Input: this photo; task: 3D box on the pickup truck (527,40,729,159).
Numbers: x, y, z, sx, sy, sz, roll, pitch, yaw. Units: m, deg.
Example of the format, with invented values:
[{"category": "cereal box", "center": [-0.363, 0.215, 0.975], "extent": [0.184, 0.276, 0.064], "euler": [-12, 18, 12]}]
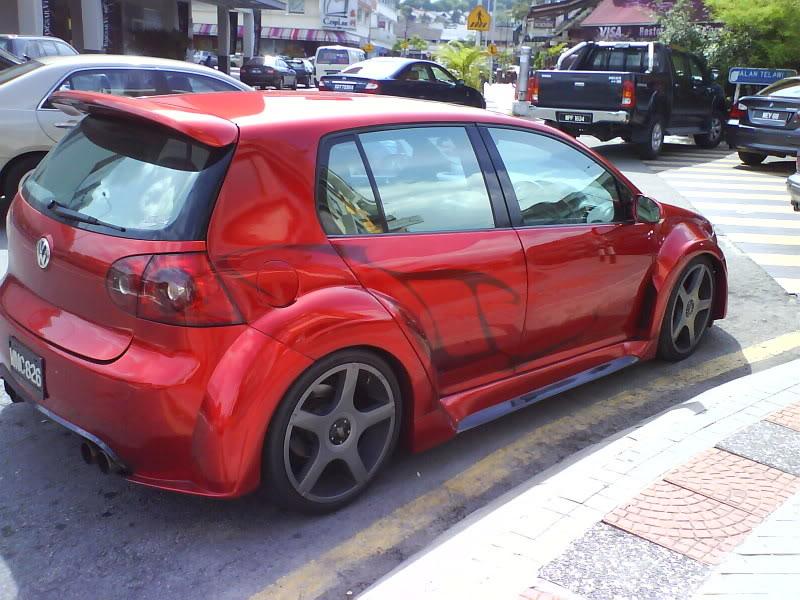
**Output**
[{"category": "pickup truck", "center": [6.495, -5.849, 14.652], "extent": [5.922, 2.473, 3.283], "euler": [-23, 30, -38]}]
